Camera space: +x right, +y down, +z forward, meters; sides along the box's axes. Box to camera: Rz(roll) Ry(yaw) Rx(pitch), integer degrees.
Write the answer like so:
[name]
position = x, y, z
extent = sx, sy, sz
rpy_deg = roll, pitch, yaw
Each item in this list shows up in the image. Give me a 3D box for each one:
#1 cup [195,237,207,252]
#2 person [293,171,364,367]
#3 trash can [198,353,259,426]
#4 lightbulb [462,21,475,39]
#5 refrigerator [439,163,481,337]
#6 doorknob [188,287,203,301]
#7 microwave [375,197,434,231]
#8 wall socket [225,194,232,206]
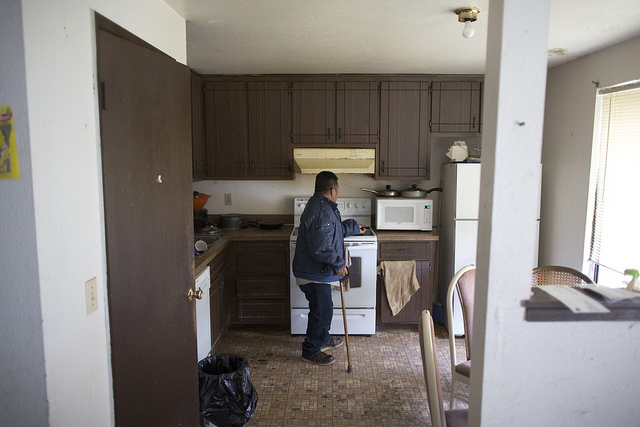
[cup]
position = -0.952, 0.266, 3.855
extent = 0.082, 0.116, 0.134
rpy_deg = -4, 15, -14
[person]
position = 0.022, 0.476, 4.208
extent = 0.487, 1.628, 0.456
rpy_deg = -7, 16, -23
[trash can]
position = -0.662, 1.171, 3.381
extent = 0.471, 0.469, 0.397
rpy_deg = -3, 6, -16
[lightbulb]
position = 1.027, -1.294, 3.404
extent = 0.065, 0.094, 0.173
rpy_deg = 3, 14, 14
[refrigerator]
position = 1.357, 0.303, 4.861
extent = 0.299, 1.646, 0.508
rpy_deg = 1, 14, 7
[doorknob]
position = -0.783, 0.499, 3.039
extent = 0.084, 0.090, 0.097
rpy_deg = -4, 14, -12
[microwave]
position = 0.827, 0.009, 4.856
extent = 0.563, 0.324, 0.185
rpy_deg = 1, 14, 7
[wall socket]
position = -1.002, -0.147, 5.295
extent = 0.078, 0.124, 0.021
rpy_deg = -2, 15, -7
